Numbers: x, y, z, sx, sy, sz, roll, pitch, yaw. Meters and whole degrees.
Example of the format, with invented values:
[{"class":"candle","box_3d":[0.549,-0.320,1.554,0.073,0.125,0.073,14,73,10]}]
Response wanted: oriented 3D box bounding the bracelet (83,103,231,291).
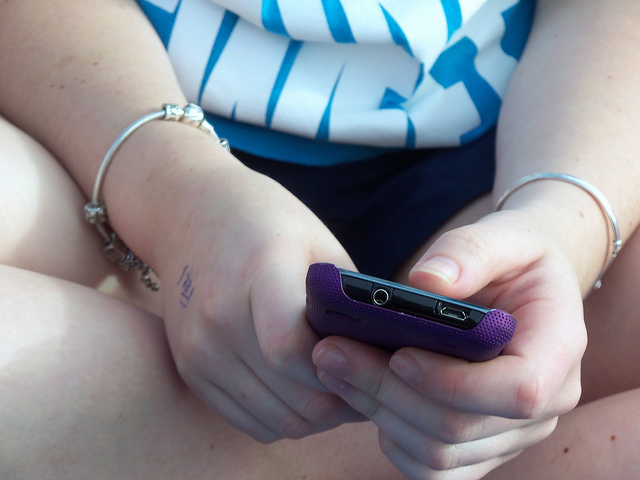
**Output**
[{"class":"bracelet","box_3d":[-0.357,-0.153,1.474,0.449,0.586,0.152,-23,82,-18]}]
